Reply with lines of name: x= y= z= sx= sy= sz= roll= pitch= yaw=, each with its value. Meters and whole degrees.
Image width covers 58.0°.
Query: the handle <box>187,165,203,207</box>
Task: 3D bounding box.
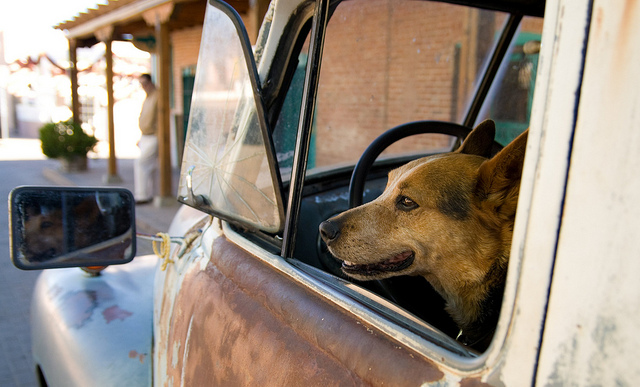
handle: x=-0.520 y=-0.030 z=2.377 sx=0.058 sy=0.152 sz=0.176 roll=-3 pitch=13 yaw=-13

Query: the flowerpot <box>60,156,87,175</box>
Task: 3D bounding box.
flowerpot: x=-6.272 y=-0.714 z=14.631 sx=0.504 sy=0.397 sz=0.521 roll=1 pitch=-2 yaw=8

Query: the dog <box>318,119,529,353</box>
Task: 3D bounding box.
dog: x=0.436 y=0.139 z=2.485 sx=0.665 sy=0.852 sz=0.940 roll=2 pitch=-6 yaw=10

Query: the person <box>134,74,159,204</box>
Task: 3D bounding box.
person: x=-3.248 y=-1.014 z=10.741 sx=0.621 sy=2.359 sz=0.649 roll=4 pitch=9 yaw=-18

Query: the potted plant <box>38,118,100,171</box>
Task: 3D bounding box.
potted plant: x=-6.499 y=-1.300 z=14.894 sx=1.259 sy=1.313 sz=1.329 roll=4 pitch=1 yaw=11
